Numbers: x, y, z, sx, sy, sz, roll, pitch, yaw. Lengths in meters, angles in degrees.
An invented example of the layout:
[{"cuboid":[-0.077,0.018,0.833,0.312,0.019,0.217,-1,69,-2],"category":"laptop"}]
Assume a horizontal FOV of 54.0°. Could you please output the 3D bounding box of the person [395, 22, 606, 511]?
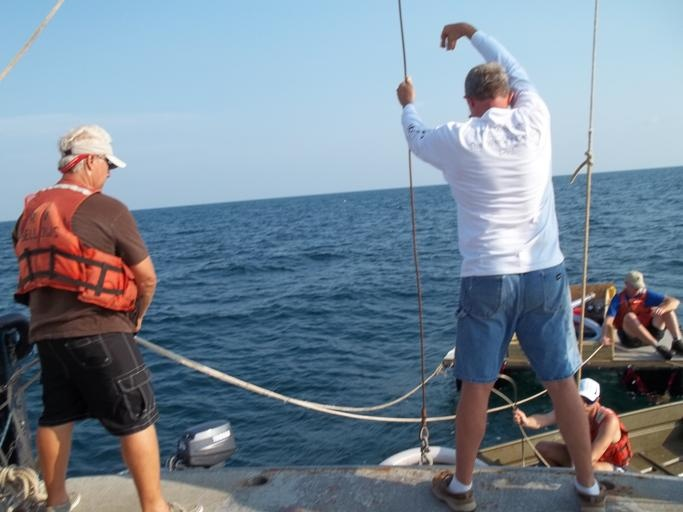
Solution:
[{"cuboid":[1.042,0.302,4.251,1.121,2.604,0.317,-3,5,5],"category":"person"}]
